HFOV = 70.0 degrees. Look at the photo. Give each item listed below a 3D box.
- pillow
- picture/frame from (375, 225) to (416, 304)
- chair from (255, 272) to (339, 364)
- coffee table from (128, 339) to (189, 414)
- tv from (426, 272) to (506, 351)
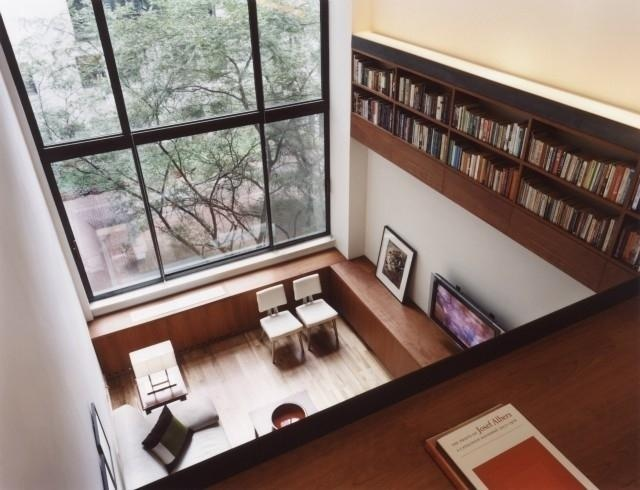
[{"bbox_3d":[-1.684,2.158,5.138,0.176,0.672,0.629,-42,-29,24],"label":"pillow"},{"bbox_3d":[1.096,0.299,6.564,0.065,0.770,0.930,-13,-54,-24],"label":"picture/frame"},{"bbox_3d":[-0.392,1.121,6.854,0.925,0.566,0.830,-16,-50,-18],"label":"chair"},{"bbox_3d":[-2.090,1.706,5.916,0.635,0.808,0.514,-14,-41,-16],"label":"coffee table"},{"bbox_3d":[1.664,0.726,5.175,0.141,0.841,0.589,-23,-42,-32],"label":"tv"}]
